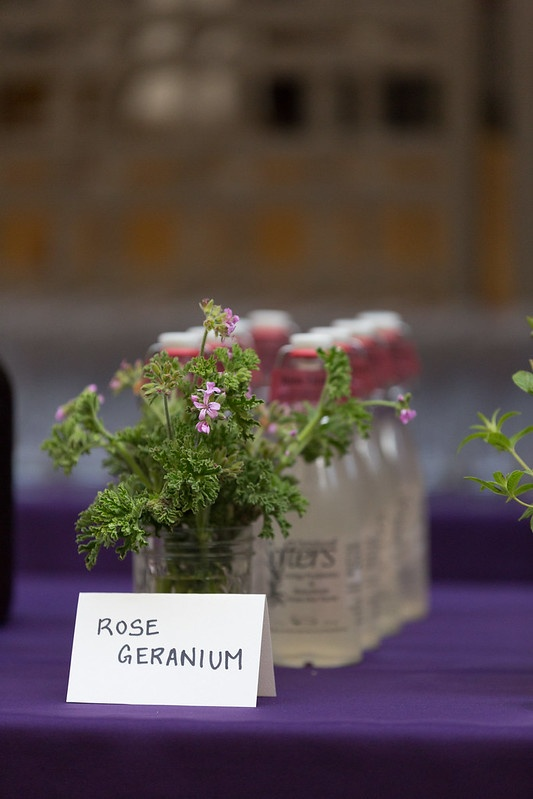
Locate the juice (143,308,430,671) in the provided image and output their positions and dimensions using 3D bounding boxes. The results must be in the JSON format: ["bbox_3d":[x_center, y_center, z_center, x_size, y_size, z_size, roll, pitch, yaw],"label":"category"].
[{"bbox_3d":[0.032,0.066,0.902,0.327,0.471,0.307,0,1,11],"label":"juice"}]
